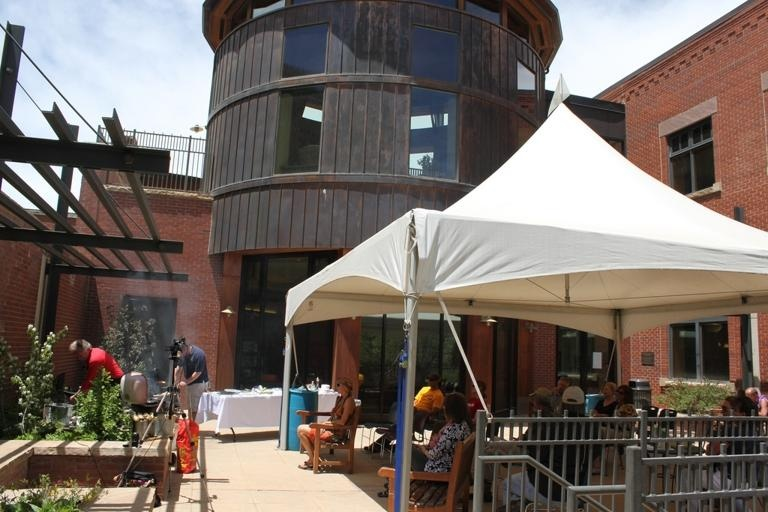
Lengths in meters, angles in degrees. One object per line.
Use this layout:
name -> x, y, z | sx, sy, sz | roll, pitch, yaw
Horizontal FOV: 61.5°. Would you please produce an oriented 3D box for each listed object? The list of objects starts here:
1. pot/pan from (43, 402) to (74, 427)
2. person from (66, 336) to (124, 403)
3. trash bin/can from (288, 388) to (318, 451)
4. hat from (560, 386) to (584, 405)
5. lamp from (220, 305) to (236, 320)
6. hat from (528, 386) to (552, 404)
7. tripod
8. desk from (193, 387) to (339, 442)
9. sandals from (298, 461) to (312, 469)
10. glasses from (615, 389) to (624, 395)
pot/pan -> -5.428, 2.627, 10.749 | 0.398, 0.312, 0.322 | 2, 0, -24
person -> -5.300, 1.972, 11.773 | 0.639, 0.890, 1.347 | -2, -7, -17
trash bin/can -> -1.678, 3.487, 13.838 | 0.695, 1.225, 0.727 | -4, -10, 43
hat -> 2.924, 2.135, 9.923 | 0.242, 0.183, 0.339 | 0, -4, 17
lamp -> -4.550, 1.662, 18.890 | 0.376, 0.303, 0.387 | 3, -6, -11
hat -> 2.853, 2.508, 11.591 | 0.615, 0.315, 0.905 | -1, -9, 9
tripod -> -3.563, 3.000, 10.535 | 0.930, 1.688, 2.336 | -3, -6, -3
desk -> -2.874, 3.353, 14.583 | 2.316, 0.679, 1.391 | 0, -3, -36
sandals -> -1.477, 3.946, 12.133 | 0.256, 0.189, 0.126 | 6, -21, -5
glasses -> 4.473, 2.585, 12.224 | 0.102, 0.079, 0.101 | 8, -19, -43
